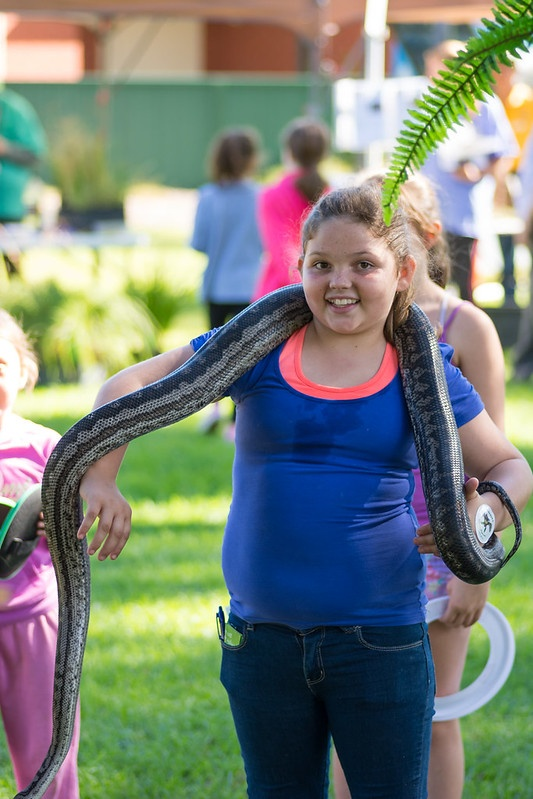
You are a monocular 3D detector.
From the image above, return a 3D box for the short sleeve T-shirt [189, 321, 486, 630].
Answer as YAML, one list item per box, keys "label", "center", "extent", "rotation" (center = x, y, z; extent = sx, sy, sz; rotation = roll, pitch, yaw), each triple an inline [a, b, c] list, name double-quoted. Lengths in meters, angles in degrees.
- label: "short sleeve T-shirt"
  center: [0.187, 0.205, 2.662]
  extent: [0.904, 0.759, 0.476]
  rotation: [2, 11, 19]
